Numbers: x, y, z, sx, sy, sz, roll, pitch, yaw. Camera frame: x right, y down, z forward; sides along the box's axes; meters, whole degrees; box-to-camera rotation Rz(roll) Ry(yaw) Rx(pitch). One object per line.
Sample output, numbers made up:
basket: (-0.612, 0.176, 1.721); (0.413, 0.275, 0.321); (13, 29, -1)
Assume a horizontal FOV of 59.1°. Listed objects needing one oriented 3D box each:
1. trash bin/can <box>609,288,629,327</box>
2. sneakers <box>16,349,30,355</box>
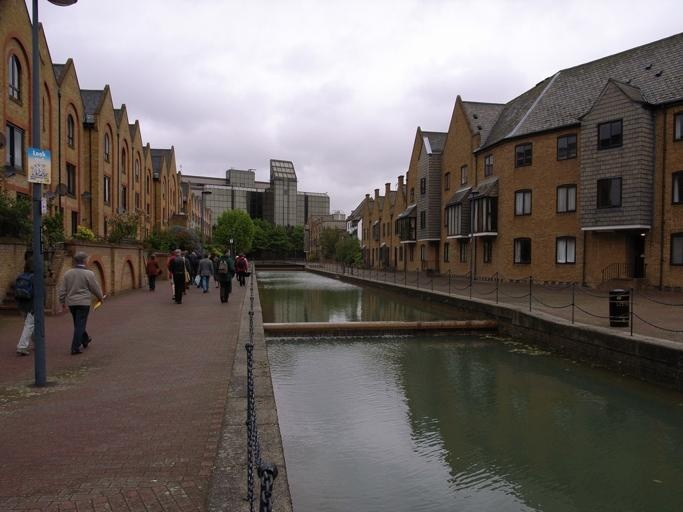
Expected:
trash bin/can: (8.137, 1.524, 17.573); (0.573, 1.094, 0.568); (3, 9, 12)
sneakers: (-7.369, 2.226, 13.957); (0.247, 0.180, 0.091); (-9, 23, -43)
